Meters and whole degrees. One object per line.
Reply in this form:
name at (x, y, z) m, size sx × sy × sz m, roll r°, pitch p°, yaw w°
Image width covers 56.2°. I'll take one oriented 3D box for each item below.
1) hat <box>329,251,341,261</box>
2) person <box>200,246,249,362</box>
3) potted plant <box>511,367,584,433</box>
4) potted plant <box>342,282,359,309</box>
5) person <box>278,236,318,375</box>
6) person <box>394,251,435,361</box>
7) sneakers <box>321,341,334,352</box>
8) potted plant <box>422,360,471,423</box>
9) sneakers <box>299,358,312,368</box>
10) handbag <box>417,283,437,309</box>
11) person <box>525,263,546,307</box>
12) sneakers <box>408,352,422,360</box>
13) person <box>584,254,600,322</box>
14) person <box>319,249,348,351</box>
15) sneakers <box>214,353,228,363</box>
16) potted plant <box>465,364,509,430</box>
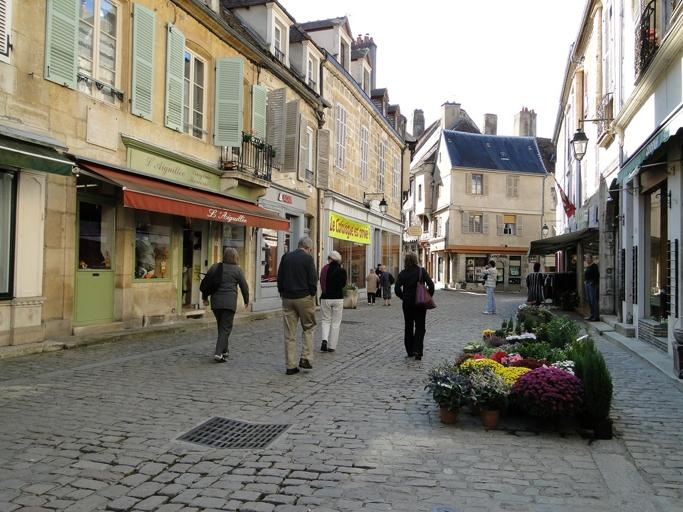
hat at (-0.118, -0.001, 12.485) m, size 0.151 × 0.169 × 0.210 m, roll 4°, pitch 12°, yaw -17°
person at (-2.033, 0.847, 11.089) m, size 0.816 × 1.947 × 0.956 m, roll 0°, pitch 5°, yaw -13°
potted plant at (2.562, 1.815, 8.164) m, size 0.927 × 0.829 × 1.044 m, roll -9°, pitch -4°, yaw 16°
potted plant at (0.362, 1.483, 23.437) m, size 0.638 × 0.982 × 0.699 m, roll 1°, pitch -3°, yaw 2°
person at (-0.709, 0.891, 10.386) m, size 0.625 × 1.902 × 0.672 m, roll 0°, pitch 5°, yaw -12°
person at (1.369, 0.918, 11.929) m, size 0.711 × 1.905 × 0.990 m, roll 1°, pitch 5°, yaw 6°
sneakers at (-0.265, 1.714, 12.214) m, size 0.116 × 0.149 × 0.333 m, roll 0°, pitch -1°, yaw 22°
potted plant at (1.387, 1.733, 8.140) m, size 0.556 × 0.691 × 0.612 m, roll 2°, pitch -7°, yaw -19°
sneakers at (-0.584, 1.751, 10.494) m, size 0.263 × 0.207 × 0.103 m, roll 1°, pitch 3°, yaw -14°
handbag at (1.541, 0.717, 11.672) m, size 0.334 × 0.451 × 0.370 m, roll 2°, pitch 5°, yaw 8°
person at (6.772, 0.965, 22.147) m, size 0.542 × 1.521 × 1.649 m, roll 2°, pitch 6°, yaw 17°
sneakers at (1.362, 1.792, 11.644) m, size 0.270 × 0.147 × 0.340 m, roll 2°, pitch 6°, yaw 6°
person at (6.930, 0.874, 17.535) m, size 0.393 × 1.680 × 1.440 m, roll 3°, pitch 6°, yaw 20°
person at (-0.171, 0.870, 12.424) m, size 0.482 × 1.892 × 0.774 m, roll 1°, pitch 5°, yaw -2°
sneakers at (-2.060, 1.730, 10.951) m, size 0.091 × 0.129 × 0.293 m, roll 0°, pitch 0°, yaw 15°
potted plant at (1.840, 1.760, 8.172) m, size 0.527 × 0.792 × 0.646 m, roll -1°, pitch 2°, yaw 8°
